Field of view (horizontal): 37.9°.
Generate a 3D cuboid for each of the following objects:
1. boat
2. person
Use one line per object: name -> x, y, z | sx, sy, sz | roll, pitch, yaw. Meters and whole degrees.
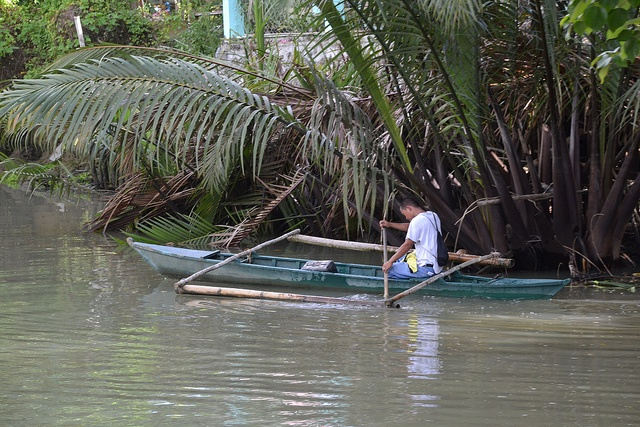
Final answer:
boat -> 0.202, 0.745, 13.253 | 5.852, 0.714, 0.640 | 1, 14, 11
person -> 1.280, 0.375, 13.361 | 1.073, 0.983, 0.966 | -13, 11, -36
